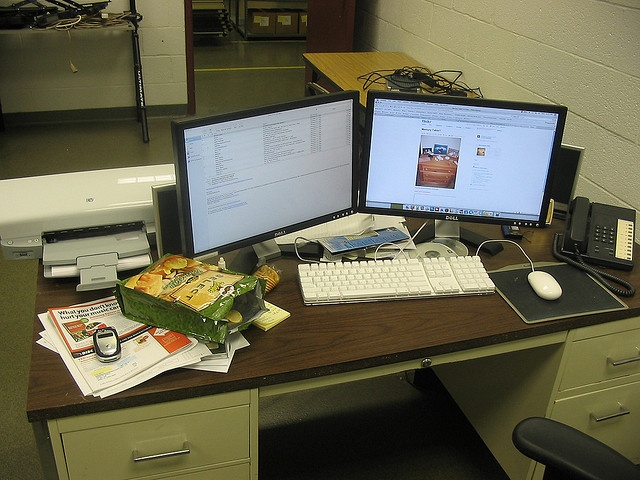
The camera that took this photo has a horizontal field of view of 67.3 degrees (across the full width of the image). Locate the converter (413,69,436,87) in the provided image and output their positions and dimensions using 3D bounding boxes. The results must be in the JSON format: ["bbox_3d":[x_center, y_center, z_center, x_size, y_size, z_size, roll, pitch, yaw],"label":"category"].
[{"bbox_3d":[0.678,-1.039,3.082,0.165,0.056,0.161,-11,38,-23],"label":"converter"}]

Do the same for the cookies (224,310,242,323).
[{"bbox_3d":[-0.244,0.211,1.332,0.040,0.007,0.034,5,27,-3],"label":"cookies"}]

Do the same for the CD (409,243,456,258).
[{"bbox_3d":[0.408,0.035,1.742,0.083,0.016,0.076,11,35,15],"label":"CD"}]

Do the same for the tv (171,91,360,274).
[{"bbox_3d":[-0.163,-0.163,1.526,0.708,0.423,0.070,-16,33,-22],"label":"tv"}]

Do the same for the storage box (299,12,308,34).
[{"bbox_3d":[-0.294,-3.522,7.806,0.114,0.323,0.161,-7,26,-13],"label":"storage box"}]

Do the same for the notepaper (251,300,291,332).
[{"bbox_3d":[-0.150,0.219,1.419,0.096,0.012,0.089,28,44,35],"label":"notepaper"}]

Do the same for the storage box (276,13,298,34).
[{"bbox_3d":[-0.531,-3.499,7.751,0.348,0.270,0.293,1,-4,4],"label":"storage box"}]

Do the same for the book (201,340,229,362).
[{"bbox_3d":[-0.285,0.298,1.309,0.071,0.023,0.064,-3,23,-8],"label":"book"}]

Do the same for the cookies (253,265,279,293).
[{"bbox_3d":[-0.176,0.118,1.578,0.086,0.081,0.075,-24,57,18],"label":"cookies"}]

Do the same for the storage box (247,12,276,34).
[{"bbox_3d":[-0.933,-3.465,7.779,0.400,0.325,0.262,1,4,1],"label":"storage box"}]

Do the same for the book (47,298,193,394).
[{"bbox_3d":[-0.542,0.284,1.285,0.270,0.027,0.264,-22,41,-33],"label":"book"}]

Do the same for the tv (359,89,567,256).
[{"bbox_3d":[0.488,-0.222,1.694,0.747,0.465,0.189,6,37,-2],"label":"tv"}]

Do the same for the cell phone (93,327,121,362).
[{"bbox_3d":[-0.557,0.271,1.253,0.060,0.029,0.090,-7,44,-21],"label":"cell phone"}]
